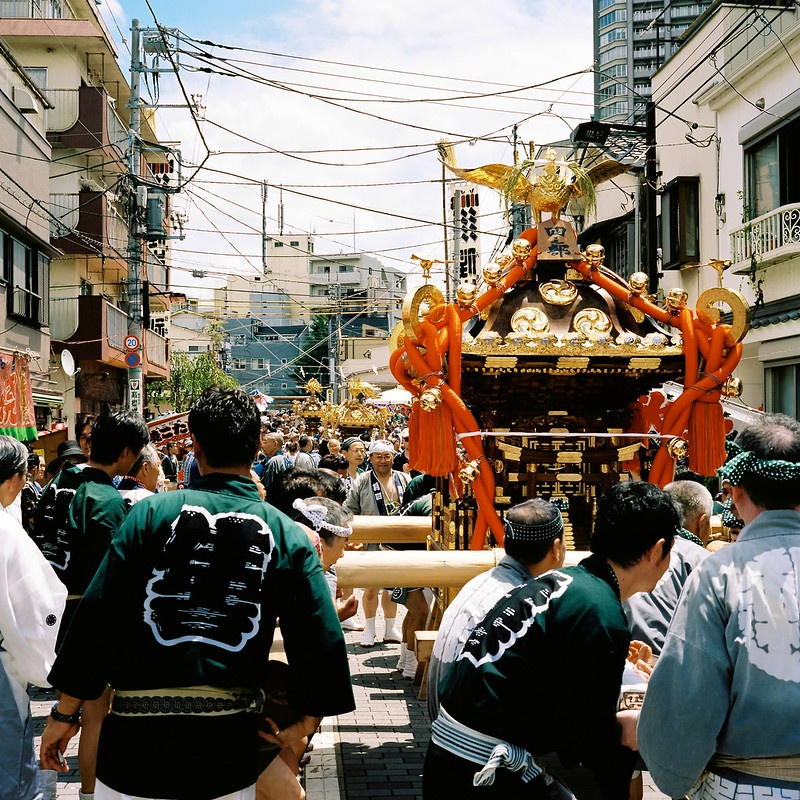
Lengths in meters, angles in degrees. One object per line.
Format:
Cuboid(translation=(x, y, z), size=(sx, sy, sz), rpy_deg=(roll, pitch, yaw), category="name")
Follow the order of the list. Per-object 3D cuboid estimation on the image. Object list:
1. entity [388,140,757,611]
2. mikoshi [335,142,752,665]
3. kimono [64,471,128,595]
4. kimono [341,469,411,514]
Cuboid(translation=(1.152, -0.320, 9.033), size=(2.471, 2.920, 2.679), rpy_deg=(0, 1, 24), category="entity")
Cuboid(translation=(1.053, -0.379, 8.940), size=(2.635, 2.979, 2.600), rpy_deg=(-2, 3, -34), category="mikoshi")
Cuboid(translation=(-1.597, 0.725, 6.901), size=(0.263, 0.659, 0.635), rpy_deg=(-2, -3, -32), category="kimono")
Cuboid(translation=(-0.168, 0.801, 10.721), size=(0.639, 0.526, 0.316), rpy_deg=(2, -8, -16), category="kimono")
